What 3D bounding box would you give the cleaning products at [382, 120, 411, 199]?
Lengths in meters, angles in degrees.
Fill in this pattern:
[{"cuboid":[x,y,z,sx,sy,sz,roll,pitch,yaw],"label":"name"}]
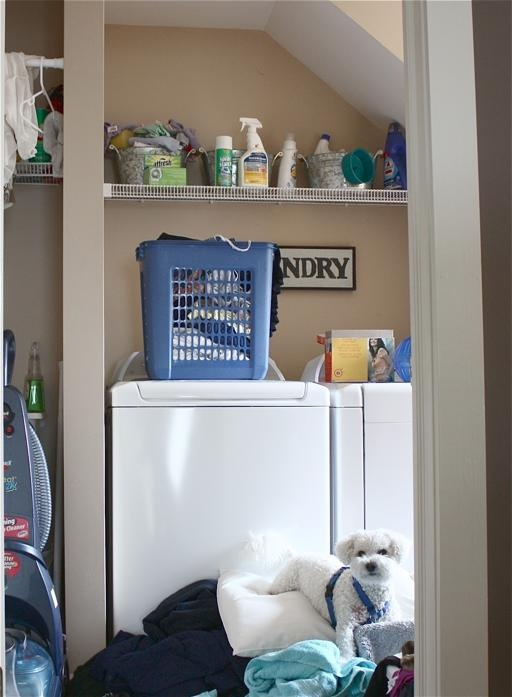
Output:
[{"cuboid":[0.474,-0.662,2.320,0.072,0.261,0.214,0,5,10],"label":"cleaning products"}]
